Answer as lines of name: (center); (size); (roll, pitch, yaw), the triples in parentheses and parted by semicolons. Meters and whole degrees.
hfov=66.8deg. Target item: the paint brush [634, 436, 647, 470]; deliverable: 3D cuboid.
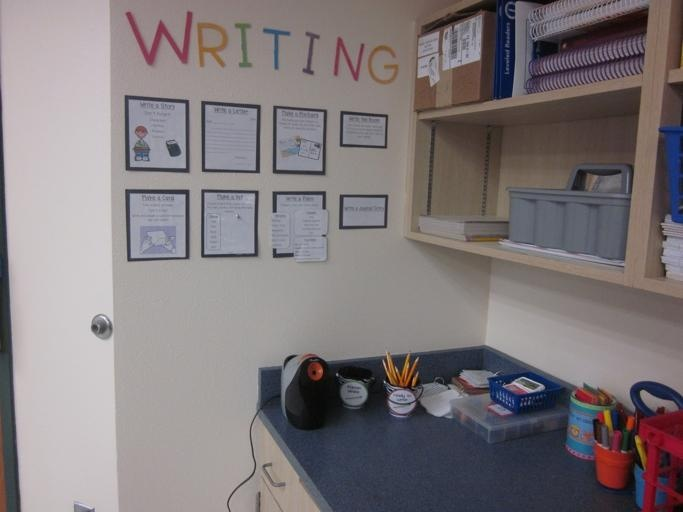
paint brush: (0.874, 0.565, 1.519); (0.026, 0.132, 0.028); (-7, -2, 40)

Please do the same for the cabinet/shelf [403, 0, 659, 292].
cabinet/shelf: (0.633, -0.406, 1.753); (0.308, 0.905, 0.987); (1, 6, -18)

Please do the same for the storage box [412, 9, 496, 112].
storage box: (0.429, -0.707, 1.923); (0.113, 0.312, 0.336); (1, 6, -34)

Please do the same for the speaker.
speaker: (-0.141, 0.480, 1.943); (0.151, 0.273, 0.242); (-5, 9, -29)

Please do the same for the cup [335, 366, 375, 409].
cup: (0.061, 0.510, 2.051); (0.152, 0.162, 0.129); (1, 27, -1)

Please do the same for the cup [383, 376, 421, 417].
cup: (0.246, 0.558, 2.013); (0.136, 0.122, 0.127); (-1, -1, 0)

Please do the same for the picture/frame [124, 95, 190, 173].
picture/frame: (-0.650, -0.428, 1.831); (0.215, 0.290, 0.012); (-7, 43, -27)

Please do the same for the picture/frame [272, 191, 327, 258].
picture/frame: (-0.174, -0.134, 2.011); (0.215, 0.297, 0.019); (-2, 10, -12)

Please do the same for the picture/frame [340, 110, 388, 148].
picture/frame: (0.079, -0.510, 2.058); (0.135, 0.109, 0.005); (-3, 7, -24)
